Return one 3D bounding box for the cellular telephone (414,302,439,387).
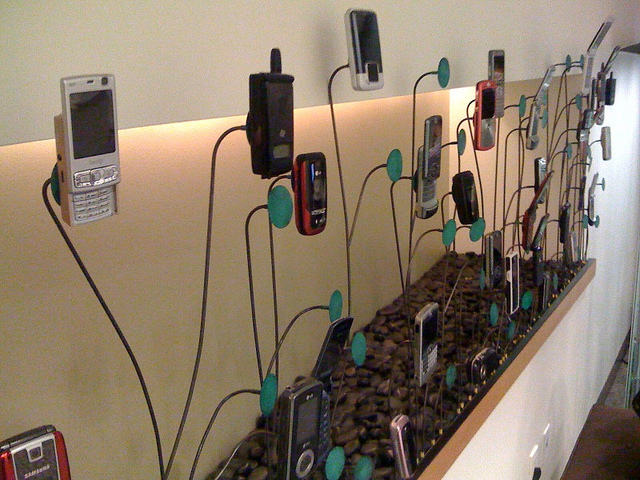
[{"bbox_3d":[0.243,0.244,1.178,0.045,0.199,0.113,4,14,28],"label":"cellular telephone"}]

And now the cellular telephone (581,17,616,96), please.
[{"bbox_3d":[1.162,-0.775,2.118,0.054,0.296,0.079,-11,23,-25],"label":"cellular telephone"}]

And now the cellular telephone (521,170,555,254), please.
[{"bbox_3d":[0.761,-0.106,1.772,0.067,0.312,0.058,22,-2,19],"label":"cellular telephone"}]

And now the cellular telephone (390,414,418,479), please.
[{"bbox_3d":[0.191,0.465,1.135,0.030,0.181,0.124,4,14,31],"label":"cellular telephone"}]

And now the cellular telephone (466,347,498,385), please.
[{"bbox_3d":[0.463,0.352,1.443,0.094,0.096,0.100,5,18,36],"label":"cellular telephone"}]

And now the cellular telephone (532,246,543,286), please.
[{"bbox_3d":[0.773,0.095,1.800,0.017,0.204,0.110,3,9,31],"label":"cellular telephone"}]

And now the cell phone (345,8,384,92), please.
[{"bbox_3d":[0.086,-0.351,0.935,0.080,0.142,0.035,-13,15,-38],"label":"cell phone"}]

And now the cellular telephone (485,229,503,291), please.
[{"bbox_3d":[0.499,0.057,1.458,0.018,0.205,0.148,3,9,30],"label":"cellular telephone"}]

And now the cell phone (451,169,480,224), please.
[{"bbox_3d":[0.364,-0.107,1.277,0.047,0.154,0.092,-3,19,34],"label":"cell phone"}]

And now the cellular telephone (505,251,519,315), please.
[{"bbox_3d":[0.610,0.136,1.602,0.027,0.201,0.119,6,15,37],"label":"cellular telephone"}]

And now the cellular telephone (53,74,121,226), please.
[{"bbox_3d":[-0.272,-0.102,0.590,0.078,0.173,0.050,-10,14,-29],"label":"cellular telephone"}]

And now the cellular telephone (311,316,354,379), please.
[{"bbox_3d":[0.021,0.196,0.896,0.023,0.108,0.114,5,15,33],"label":"cellular telephone"}]

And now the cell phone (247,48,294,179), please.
[{"bbox_3d":[-0.070,-0.168,0.744,0.069,0.146,0.035,-6,12,-13],"label":"cell phone"}]

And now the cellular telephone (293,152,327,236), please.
[{"bbox_3d":[-0.015,-0.074,0.829,0.019,0.133,0.073,8,16,42],"label":"cellular telephone"}]

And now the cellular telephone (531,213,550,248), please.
[{"bbox_3d":[0.786,-0.035,1.807,0.019,0.131,0.033,13,3,20],"label":"cellular telephone"}]

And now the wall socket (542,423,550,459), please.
[{"bbox_3d":[0.940,0.830,2.104,0.015,0.162,0.143,4,22,27],"label":"wall socket"}]

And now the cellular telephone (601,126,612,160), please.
[{"bbox_3d":[1.445,-0.489,2.560,0.073,0.163,0.037,-14,16,-42],"label":"cellular telephone"}]

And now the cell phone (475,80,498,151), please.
[{"bbox_3d":[0.451,-0.336,1.360,0.037,0.180,0.188,3,14,27],"label":"cell phone"}]

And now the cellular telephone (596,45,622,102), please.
[{"bbox_3d":[1.395,-0.782,2.441,0.084,0.295,0.059,6,37,38],"label":"cellular telephone"}]

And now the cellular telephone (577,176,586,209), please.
[{"bbox_3d":[1.202,-0.217,2.320,0.019,0.150,0.102,4,14,31],"label":"cellular telephone"}]

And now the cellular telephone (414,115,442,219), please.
[{"bbox_3d":[0.242,-0.160,1.117,0.032,0.218,0.112,6,15,37],"label":"cellular telephone"}]

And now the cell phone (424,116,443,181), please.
[{"bbox_3d":[0.249,-0.200,1.108,0.021,0.137,0.108,3,14,25],"label":"cell phone"}]

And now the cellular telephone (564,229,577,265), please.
[{"bbox_3d":[1.099,0.028,2.218,0.026,0.217,0.117,4,12,35],"label":"cellular telephone"}]
